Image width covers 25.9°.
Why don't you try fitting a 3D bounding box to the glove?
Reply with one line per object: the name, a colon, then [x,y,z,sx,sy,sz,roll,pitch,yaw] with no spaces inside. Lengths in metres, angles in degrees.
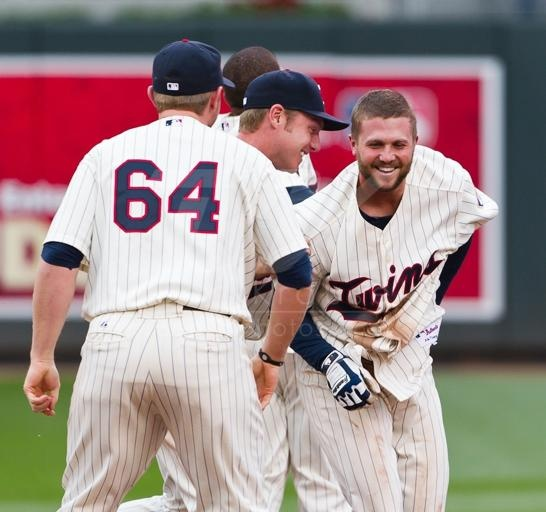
glove: [0.293,0.493,4.769,0.152,0.256,0.076,-32,-26,-11]
